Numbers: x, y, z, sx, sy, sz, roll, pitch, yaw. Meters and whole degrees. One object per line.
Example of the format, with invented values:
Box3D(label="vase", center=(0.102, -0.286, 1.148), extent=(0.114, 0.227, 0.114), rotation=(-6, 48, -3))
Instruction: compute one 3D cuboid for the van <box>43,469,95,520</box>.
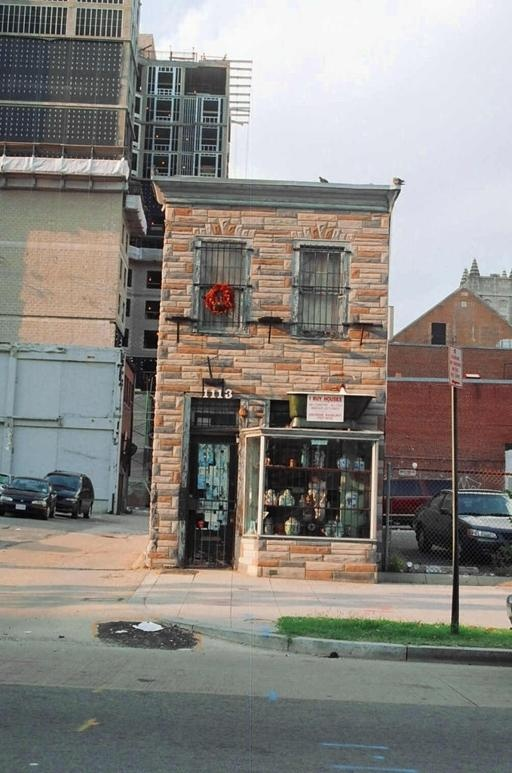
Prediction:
Box3D(label="van", center=(-6.877, 3.849, 31.814), extent=(1.357, 0.919, 2.116), rotation=(2, -11, 7))
